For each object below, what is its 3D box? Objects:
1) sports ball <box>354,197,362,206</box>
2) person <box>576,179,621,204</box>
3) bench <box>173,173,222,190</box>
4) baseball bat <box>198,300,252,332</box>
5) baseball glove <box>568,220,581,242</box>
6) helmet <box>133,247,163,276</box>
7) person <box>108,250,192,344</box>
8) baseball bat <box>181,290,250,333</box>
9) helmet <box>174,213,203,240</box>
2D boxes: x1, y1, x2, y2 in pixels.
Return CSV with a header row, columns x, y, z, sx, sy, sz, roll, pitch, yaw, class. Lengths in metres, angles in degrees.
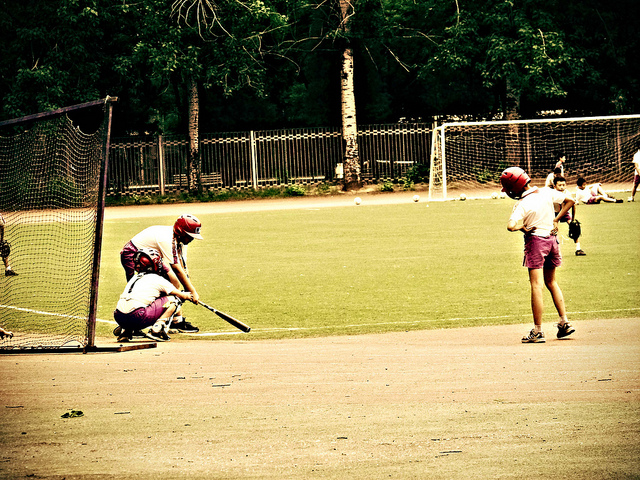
x,y,z,sx,sy,sz,roll,pitch,yaw,class
1.334,-1.463,40.948,0.294,0.322,0.286,-3,9,0,sports ball
8.479,-1.510,35.709,1.266,0.729,0.890,0,6,-3,person
-4.720,-2.583,46.985,1.531,0.701,0.353,-1,-5,4,bench
-1.847,1.431,21.796,1.015,0.114,0.160,27,-16,10,baseball bat
5.806,-0.255,26.227,0.379,0.594,0.409,0,2,8,baseball glove
-3.134,0.345,20.683,0.425,0.470,0.554,29,-17,1,helmet
-3.090,0.990,20.525,1.244,1.630,0.697,-7,8,-29,person
-2.053,1.365,21.933,1.457,0.141,0.116,30,33,22,baseball bat
-2.386,-0.286,20.767,0.511,0.365,0.401,31,10,3,helmet
